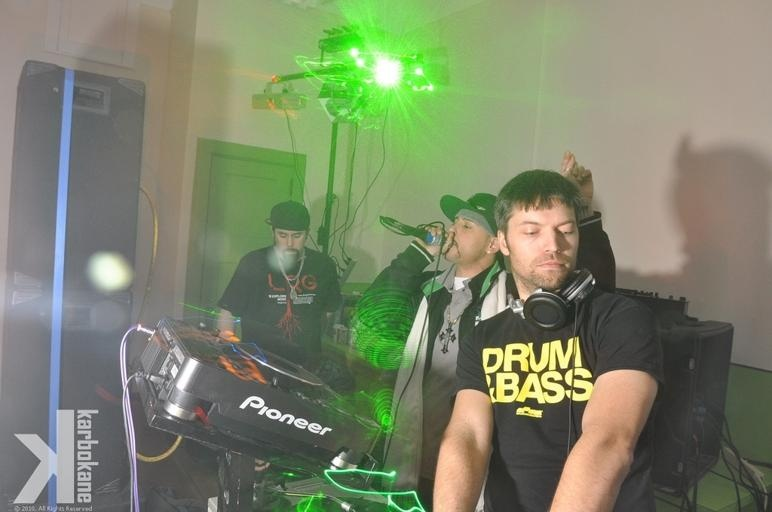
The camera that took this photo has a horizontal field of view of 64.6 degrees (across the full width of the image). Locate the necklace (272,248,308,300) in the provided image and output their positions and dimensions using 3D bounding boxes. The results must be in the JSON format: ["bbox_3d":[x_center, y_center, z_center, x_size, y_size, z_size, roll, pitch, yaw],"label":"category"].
[{"bbox_3d":[-0.612,0.082,3.784,0.154,0.360,0.114,-5,30,-1],"label":"necklace"}]

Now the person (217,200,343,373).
[{"bbox_3d":[-0.549,0.162,3.640,0.746,0.996,0.955,6,-6,-29],"label":"person"}]

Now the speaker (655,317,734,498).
[{"bbox_3d":[1.377,0.659,2.747,0.478,0.760,0.196,8,-6,-44],"label":"speaker"}]

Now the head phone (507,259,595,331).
[{"bbox_3d":[0.612,0.164,2.216,0.218,0.126,0.243,14,34,37],"label":"head phone"}]
